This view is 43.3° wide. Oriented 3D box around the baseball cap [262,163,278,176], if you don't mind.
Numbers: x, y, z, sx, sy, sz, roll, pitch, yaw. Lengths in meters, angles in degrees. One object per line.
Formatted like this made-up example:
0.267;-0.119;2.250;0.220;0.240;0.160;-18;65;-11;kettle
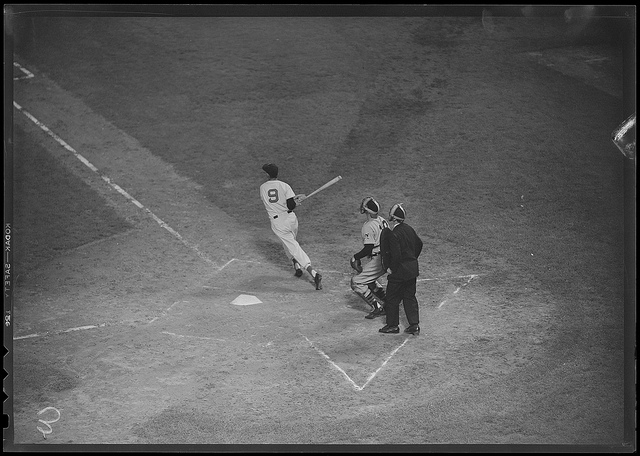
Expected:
-1.069;-1.258;17.419;0.267;0.255;0.262;-20;27;-7;baseball cap

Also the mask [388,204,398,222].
1.437;-0.293;15.697;0.202;0.271;0.208;17;28;-2;mask

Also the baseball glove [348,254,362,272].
0.672;0.686;16.208;0.247;0.345;0.185;-14;-15;7;baseball glove
